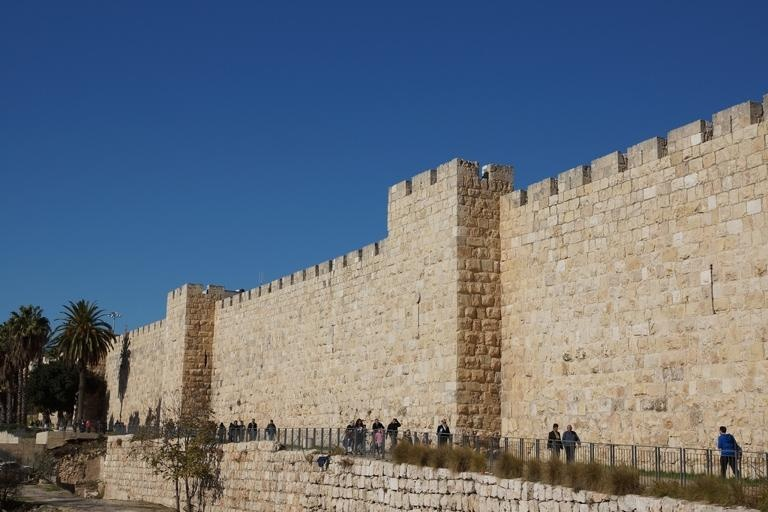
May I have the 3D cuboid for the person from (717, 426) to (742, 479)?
[{"bbox_3d":[9.087,5.119,32.133,0.655,1.359,2.041,5,-8,17],"label":"person"}]

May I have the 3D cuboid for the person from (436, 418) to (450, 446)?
[{"bbox_3d":[1.796,5.344,37.105,0.428,1.037,0.323,4,-20,-11],"label":"person"}]

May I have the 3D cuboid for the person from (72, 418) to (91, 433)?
[{"bbox_3d":[-15.694,8.735,63.045,0.525,0.768,0.972,3,-5,-40],"label":"person"}]

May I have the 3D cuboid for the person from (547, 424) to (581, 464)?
[{"bbox_3d":[5.036,5.300,34.550,0.580,1.129,1.071,-7,-23,27],"label":"person"}]
